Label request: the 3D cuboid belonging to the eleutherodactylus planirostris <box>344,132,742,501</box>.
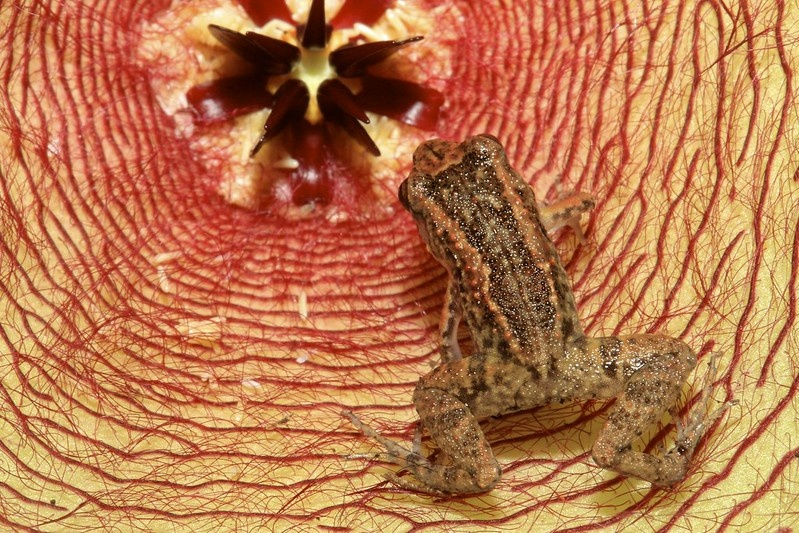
[{"bbox_3d":[0.262,0.126,2.526,0.776,0.943,0.300,-27,-33,2],"label":"eleutherodactylus planirostris"}]
